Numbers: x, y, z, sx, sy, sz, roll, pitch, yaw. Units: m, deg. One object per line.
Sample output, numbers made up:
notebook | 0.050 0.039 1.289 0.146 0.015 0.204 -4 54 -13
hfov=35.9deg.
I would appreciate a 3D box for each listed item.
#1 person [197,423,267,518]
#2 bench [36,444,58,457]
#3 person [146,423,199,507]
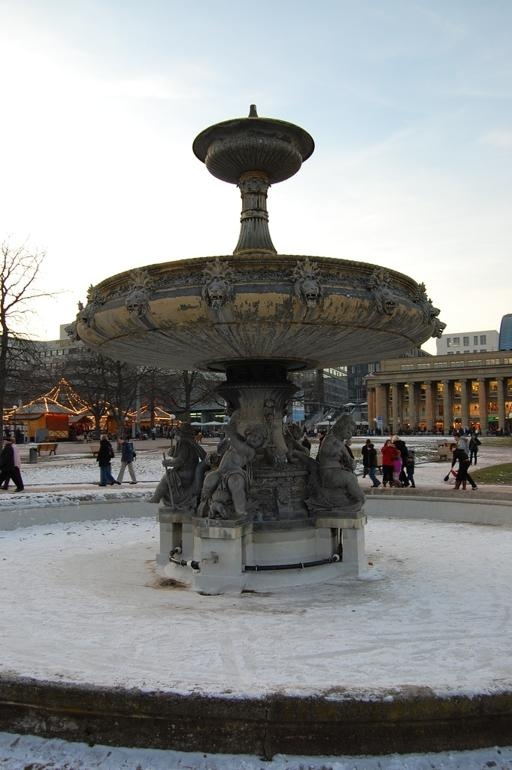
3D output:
person | -0.309 0.863 7.709 0.449 0.859 0.748 -2 0 18
bench | -9.815 3.052 36.845 0.853 0.546 0.377 0 6 -39
person | -0.841 0.865 8.544 0.501 0.884 0.632 -2 0 35
